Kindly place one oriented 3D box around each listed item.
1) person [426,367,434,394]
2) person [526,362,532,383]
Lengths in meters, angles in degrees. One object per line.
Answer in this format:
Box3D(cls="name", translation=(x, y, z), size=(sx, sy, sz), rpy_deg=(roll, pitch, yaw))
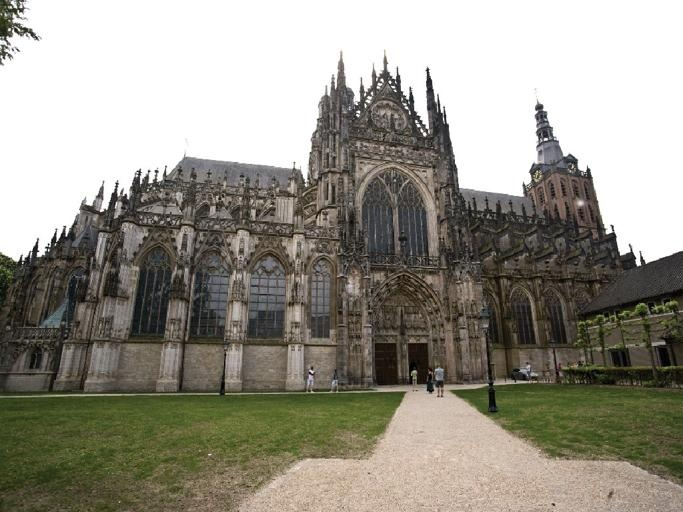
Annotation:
Box3D(cls="person", translation=(5.445, 7.670, 23.289), size=(0.365, 1.376, 1.188), rpy_deg=(-2, -10, 12))
Box3D(cls="person", translation=(16.168, 10.072, 32.748), size=(0.332, 1.145, 1.454), rpy_deg=(-5, -11, 26))
